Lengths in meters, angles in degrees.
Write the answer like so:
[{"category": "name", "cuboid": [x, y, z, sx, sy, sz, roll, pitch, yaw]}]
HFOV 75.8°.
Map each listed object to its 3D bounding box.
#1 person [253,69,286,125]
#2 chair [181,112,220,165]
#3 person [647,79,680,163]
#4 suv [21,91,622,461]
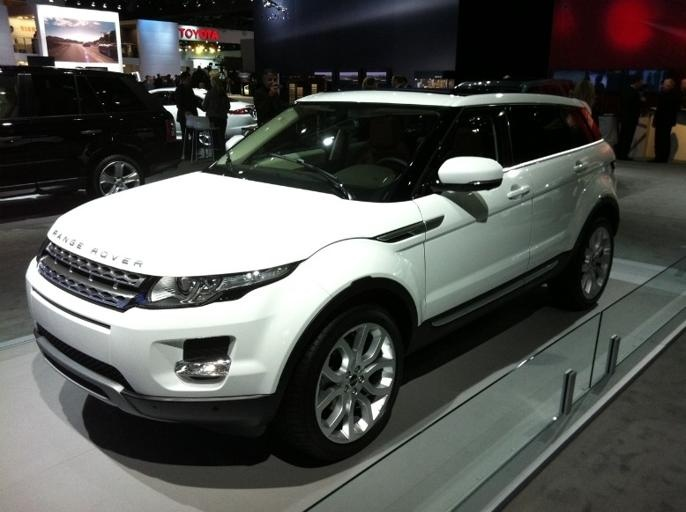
[{"category": "person", "cuboid": [-1.573, -3.073, 8.956, 0.552, 0.504, 1.794, -1, -19, -17]}, {"category": "chair", "cuboid": [-3.173, -2.670, 10.216, 0.713, 0.880, 0.712, -3, 17, -24]}, {"category": "person", "cuboid": [8.339, -3.457, 11.402, 0.544, 1.996, 0.877, 12, 25, 32]}, {"category": "suv", "cuboid": [0.311, 0.080, 3.238, 3.970, 1.525, 2.049, -12, 20, -42]}]
